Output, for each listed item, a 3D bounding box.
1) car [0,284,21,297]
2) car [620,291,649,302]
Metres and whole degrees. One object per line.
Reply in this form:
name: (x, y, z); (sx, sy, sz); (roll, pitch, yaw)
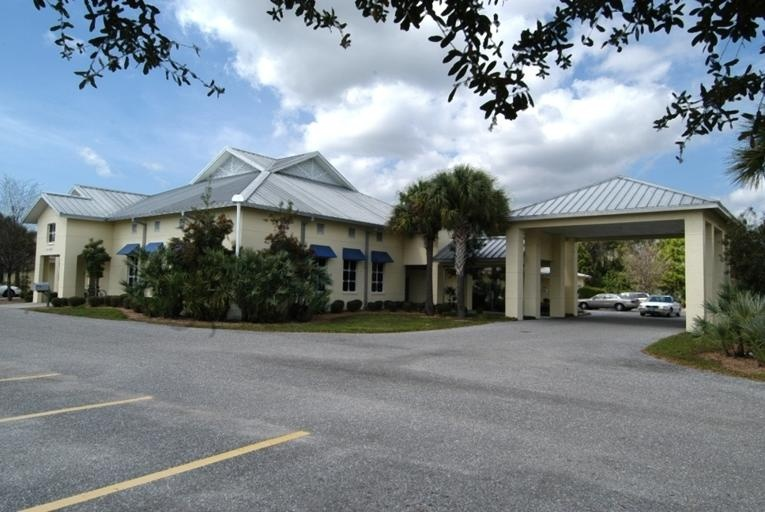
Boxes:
car: (-28.565, 2.750, 39.697); (2.257, 0.840, 0.981); (4, -6, -17)
car: (21.596, 3.576, 44.126); (2.307, 0.823, 1.281); (-2, 1, 6)
